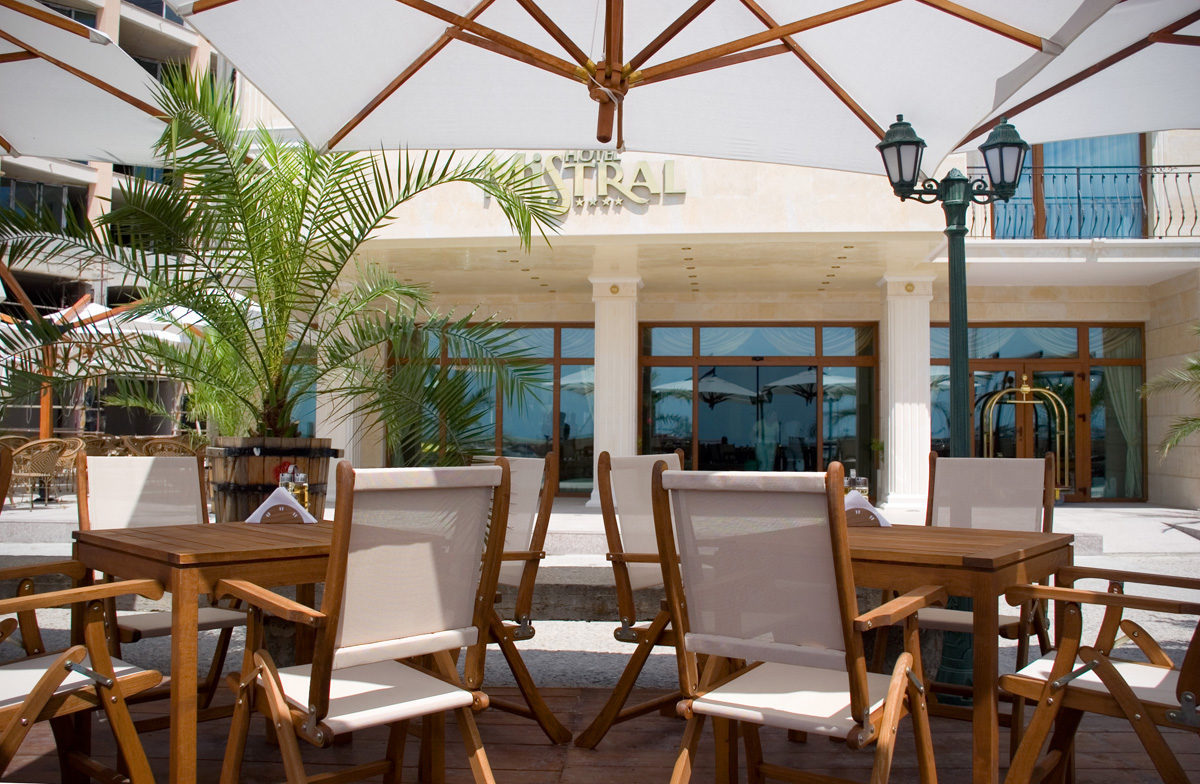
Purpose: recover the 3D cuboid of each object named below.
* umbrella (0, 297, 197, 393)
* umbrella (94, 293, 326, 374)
[{"bbox_3d":[-4.174,-0.400,7.807,1.407,0.557,1.308,4,-22,-45],"label":"umbrella"},{"bbox_3d":[-3.094,-0.466,7.469,0.959,0.393,0.964,9,-6,-15],"label":"umbrella"}]
